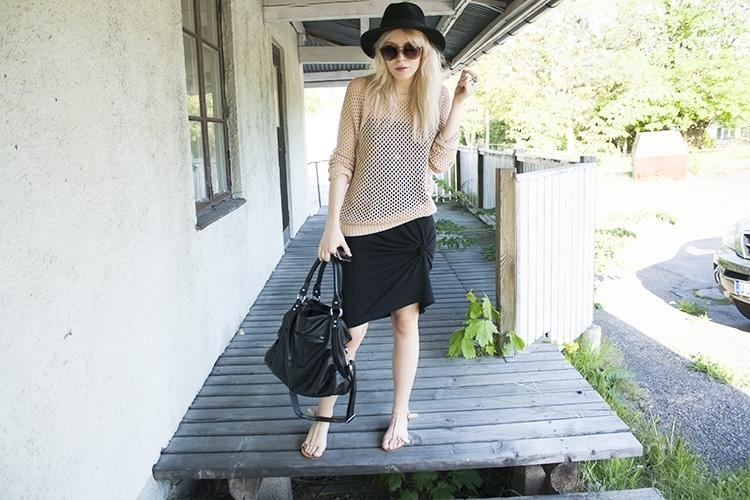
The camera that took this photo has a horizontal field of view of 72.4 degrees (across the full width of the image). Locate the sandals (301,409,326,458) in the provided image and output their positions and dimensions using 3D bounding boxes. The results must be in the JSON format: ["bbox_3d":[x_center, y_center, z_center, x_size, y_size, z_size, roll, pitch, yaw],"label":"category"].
[{"bbox_3d":[-0.312,1.026,2.784,0.101,0.126,0.306,2,-5,2],"label":"sandals"}]

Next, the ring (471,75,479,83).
[{"bbox_3d":[0.491,-0.837,2.507,0.015,0.036,0.051,8,16,33],"label":"ring"}]

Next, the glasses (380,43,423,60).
[{"bbox_3d":[0.120,-0.923,2.384,0.100,0.038,0.104,0,1,5],"label":"glasses"}]

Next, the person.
[{"bbox_3d":[0.084,-0.051,2.627,0.786,2.252,0.282,-5,14,-18],"label":"person"}]

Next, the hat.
[{"bbox_3d":[0.135,-1.074,2.476,0.402,0.262,0.274,0,14,3],"label":"hat"}]
